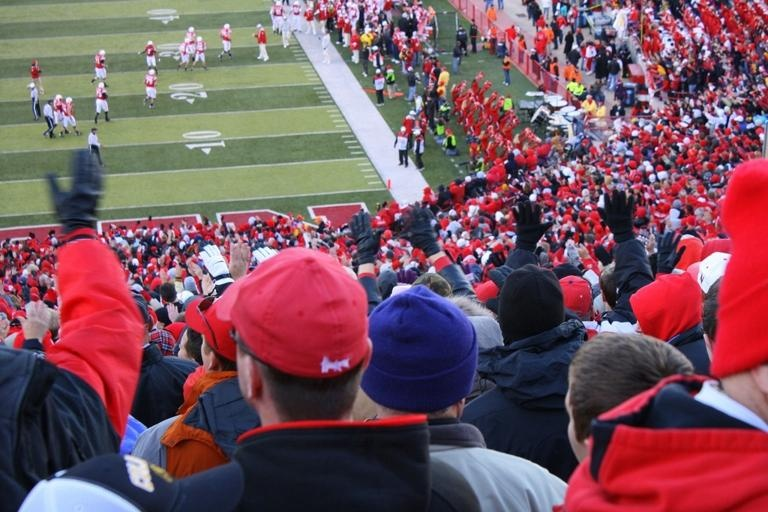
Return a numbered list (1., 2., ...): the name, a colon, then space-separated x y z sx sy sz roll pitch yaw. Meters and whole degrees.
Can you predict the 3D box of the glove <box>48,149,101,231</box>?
1. glove: -1.736 -0.373 5.795 0.308 0.488 0.240 -6 -3 -17
